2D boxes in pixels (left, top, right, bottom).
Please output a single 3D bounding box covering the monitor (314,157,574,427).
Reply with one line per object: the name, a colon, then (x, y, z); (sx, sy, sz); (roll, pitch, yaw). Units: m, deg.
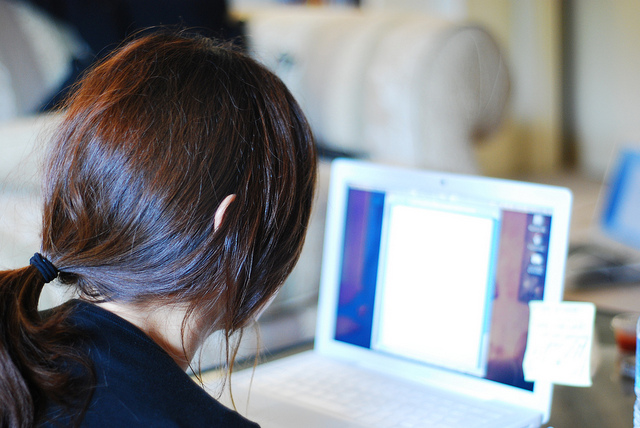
monitor: (0.301, 0.232, 1.439); (0.613, 0.464, 0.455); (11, 8, 25)
